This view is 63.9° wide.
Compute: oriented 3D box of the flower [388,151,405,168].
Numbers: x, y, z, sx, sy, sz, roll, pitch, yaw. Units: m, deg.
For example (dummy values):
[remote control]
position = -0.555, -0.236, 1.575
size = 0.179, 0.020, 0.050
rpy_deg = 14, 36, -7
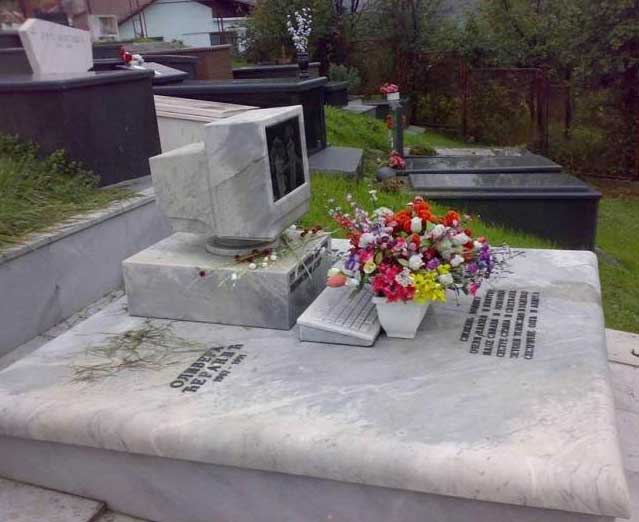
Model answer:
[flower]
position = 1.397, -1.827, 9.195
size = 0.285, 0.186, 0.370
rpy_deg = 3, 11, 5

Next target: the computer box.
[computer box]
position = -0.504, 0.001, 3.448
size = 1.170, 0.548, 0.951
rpy_deg = 6, 16, 17

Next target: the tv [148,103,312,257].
[tv]
position = -0.540, -0.523, 3.357
size = 1.018, 0.810, 0.984
rpy_deg = -4, 18, -3

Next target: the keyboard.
[keyboard]
position = 0.170, 0.307, 3.050
size = 0.438, 0.133, 0.661
rpy_deg = 8, 20, 9
